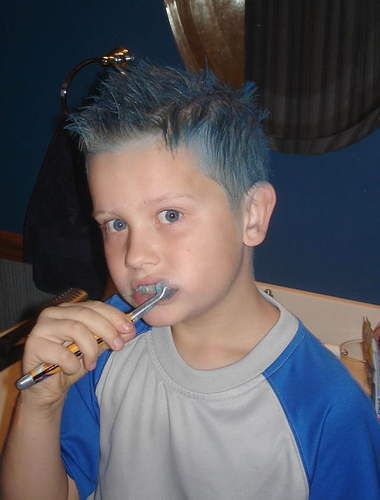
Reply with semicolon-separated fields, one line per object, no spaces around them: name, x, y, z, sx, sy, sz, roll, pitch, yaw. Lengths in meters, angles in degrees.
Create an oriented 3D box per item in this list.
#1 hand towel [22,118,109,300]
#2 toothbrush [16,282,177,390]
hand towel;-0.230;-0.083;1.094;0.141;0.389;0.287;0;20;-4
toothbrush;-0.111;0.108;0.574;0.196;0.138;0.099;-5;10;-5
